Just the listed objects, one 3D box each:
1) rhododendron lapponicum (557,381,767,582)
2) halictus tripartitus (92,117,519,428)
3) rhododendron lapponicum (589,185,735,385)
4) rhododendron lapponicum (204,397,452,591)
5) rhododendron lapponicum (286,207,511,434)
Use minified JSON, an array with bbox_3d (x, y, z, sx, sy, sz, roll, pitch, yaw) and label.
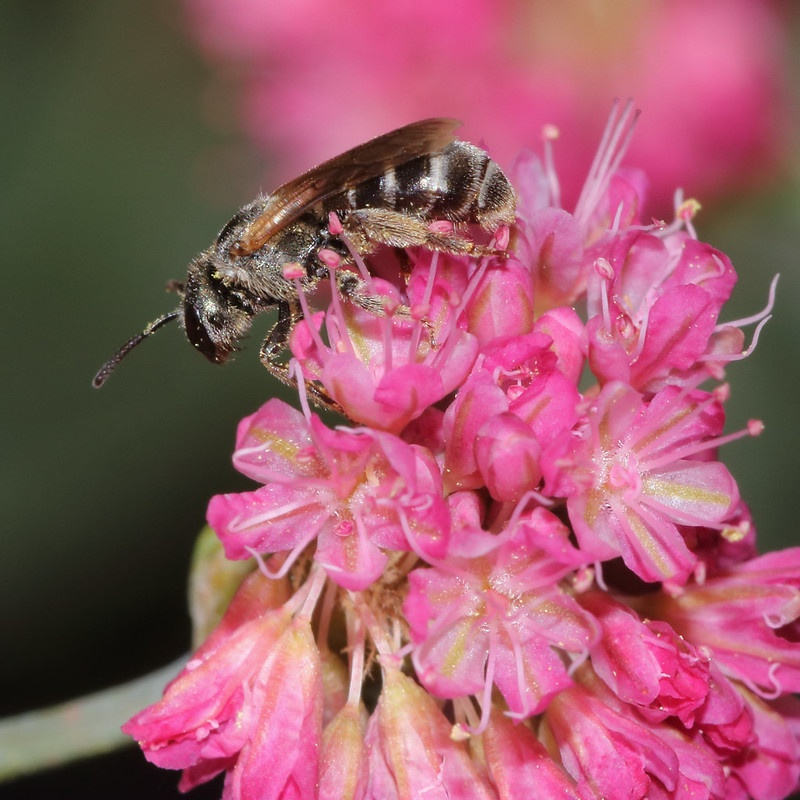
[{"bbox_3d":[0.411,0.142,1.777,0.395,0.360,0.275,1,22,-5],"label":"rhododendron lapponicum"},{"bbox_3d":[-0.195,-0.325,2.363,1.098,0.286,0.718,-31,0,-7],"label":"halictus tripartitus"},{"bbox_3d":[0.500,-0.207,1.955,0.313,0.420,0.352,3,25,-5],"label":"rhododendron lapponicum"},{"bbox_3d":[-0.086,0.139,1.657,0.417,0.175,0.486,0,28,0],"label":"rhododendron lapponicum"},{"bbox_3d":[-0.050,-0.128,2.069,0.475,0.492,0.544,0,26,2],"label":"rhododendron lapponicum"}]
